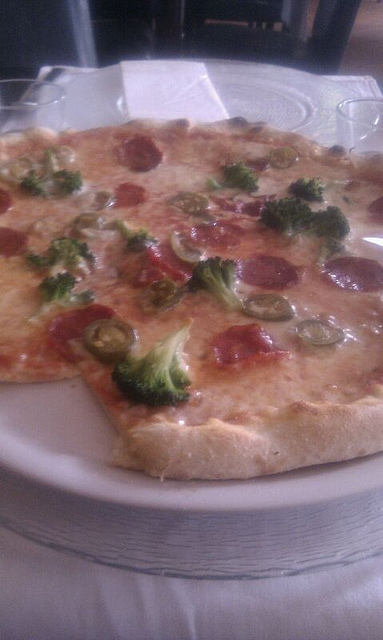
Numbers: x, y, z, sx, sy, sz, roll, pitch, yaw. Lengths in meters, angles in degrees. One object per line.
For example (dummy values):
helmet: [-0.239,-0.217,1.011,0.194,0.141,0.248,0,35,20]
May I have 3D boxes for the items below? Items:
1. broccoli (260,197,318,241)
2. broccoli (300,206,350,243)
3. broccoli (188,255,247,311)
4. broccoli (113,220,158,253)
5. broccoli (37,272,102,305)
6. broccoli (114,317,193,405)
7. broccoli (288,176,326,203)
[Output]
broccoli: [0.287,-0.307,1.713,0.149,0.130,0.135,16,29,17]
broccoli: [0.391,-0.273,1.667,0.122,0.061,0.091,-10,-6,27]
broccoli: [0.068,-0.106,1.440,0.113,0.066,0.156,-22,44,-14]
broccoli: [-0.172,-0.249,1.659,0.059,0.063,0.150,-31,43,-17]
broccoli: [-0.335,-0.074,1.459,0.105,0.034,0.093,-11,36,-26]
broccoli: [-0.082,0.094,1.204,0.105,0.098,0.141,37,54,-19]
broccoli: [0.361,-0.413,1.797,0.103,0.057,0.109,-6,50,18]
